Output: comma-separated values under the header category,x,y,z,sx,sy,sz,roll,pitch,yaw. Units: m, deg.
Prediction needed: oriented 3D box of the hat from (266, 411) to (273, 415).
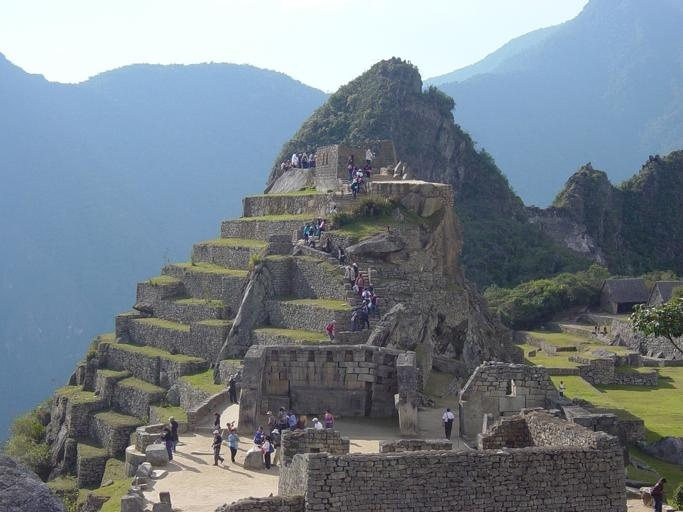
category,x,y,z,sx,sy,sz,roll,pitch,yaw
hat,-8.158,17.569,110.407,0.437,0.251,0.337,24,-26,-33

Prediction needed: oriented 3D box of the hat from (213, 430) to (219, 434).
category,x,y,z,sx,sy,sz,roll,pitch,yaw
hat,-13.954,19.336,108.583,0.678,0.374,1.022,4,-1,-5

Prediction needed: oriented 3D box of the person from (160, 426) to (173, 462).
category,x,y,z,sx,sy,sz,roll,pitch,yaw
person,-19.099,20.549,108.320,1.245,3.643,0.749,6,-12,-6

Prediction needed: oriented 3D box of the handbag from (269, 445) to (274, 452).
category,x,y,z,sx,sy,sz,roll,pitch,yaw
handbag,-7.650,21.001,107.749,0.344,0.753,1.362,3,-13,6
